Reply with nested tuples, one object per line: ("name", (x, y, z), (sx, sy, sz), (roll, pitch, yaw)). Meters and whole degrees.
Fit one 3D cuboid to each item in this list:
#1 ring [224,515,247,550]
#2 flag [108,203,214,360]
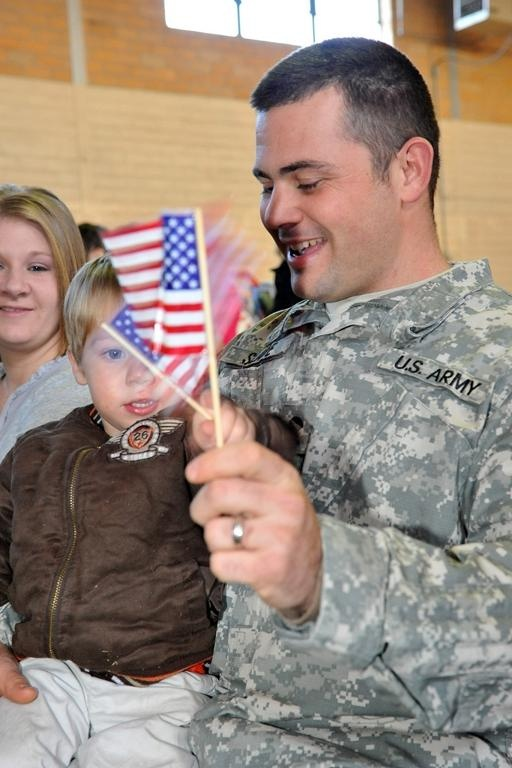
("ring", (-0.016, 0.123, 0.641), (0.026, 0.021, 0.024), (1, -6, 0))
("flag", (-0.094, -0.098, 0.740), (0.073, 0.146, 0.098), (-3, 5, 6))
